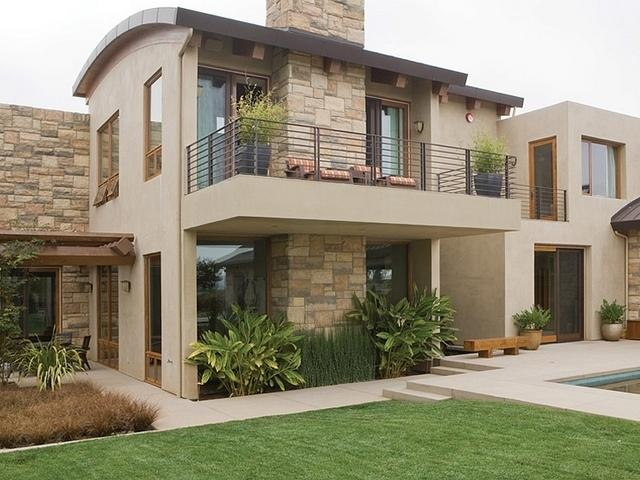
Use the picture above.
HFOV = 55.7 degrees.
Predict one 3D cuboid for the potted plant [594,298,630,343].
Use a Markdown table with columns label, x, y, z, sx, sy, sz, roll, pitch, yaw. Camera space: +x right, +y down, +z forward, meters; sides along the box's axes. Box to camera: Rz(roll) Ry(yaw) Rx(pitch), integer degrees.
| label | x | y | z | sx | sy | sz | roll | pitch | yaw |
| --- | --- | --- | --- | --- | --- | --- | --- | --- | --- |
| potted plant | 9.027 | 2.565 | 19.138 | 0.974 | 1.465 | 1.104 | 2 | -6 | -11 |

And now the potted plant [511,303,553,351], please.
| label | x | y | z | sx | sy | sz | roll | pitch | yaw |
| --- | --- | --- | --- | --- | --- | --- | --- | --- | --- |
| potted plant | 5.897 | 2.419 | 16.712 | 1.036 | 1.342 | 1.212 | 1 | -7 | 1 |

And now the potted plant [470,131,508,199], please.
| label | x | y | z | sx | sy | sz | roll | pitch | yaw |
| --- | --- | --- | --- | --- | --- | --- | --- | --- | --- |
| potted plant | 4.125 | -1.821 | 14.731 | 0.808 | 1.879 | 1.209 | -3 | -8 | 15 |

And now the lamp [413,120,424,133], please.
| label | x | y | z | sx | sy | sz | roll | pitch | yaw |
| --- | --- | --- | --- | --- | --- | --- | --- | --- | --- |
| lamp | 2.553 | -2.878 | 15.735 | 0.256 | 0.355 | 0.324 | 3 | -4 | -15 |

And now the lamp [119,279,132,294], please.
| label | x | y | z | sx | sy | sz | roll | pitch | yaw |
| --- | --- | --- | --- | --- | --- | --- | --- | --- | --- |
| lamp | -5.010 | 1.222 | 15.661 | 0.295 | 0.421 | 0.377 | 5 | -7 | -32 |

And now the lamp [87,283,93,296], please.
| label | x | y | z | sx | sy | sz | roll | pitch | yaw |
| --- | --- | --- | --- | --- | --- | --- | --- | --- | --- |
| lamp | -6.925 | 1.484 | 18.289 | 0.097 | 0.382 | 0.609 | 2 | -9 | -26 |
